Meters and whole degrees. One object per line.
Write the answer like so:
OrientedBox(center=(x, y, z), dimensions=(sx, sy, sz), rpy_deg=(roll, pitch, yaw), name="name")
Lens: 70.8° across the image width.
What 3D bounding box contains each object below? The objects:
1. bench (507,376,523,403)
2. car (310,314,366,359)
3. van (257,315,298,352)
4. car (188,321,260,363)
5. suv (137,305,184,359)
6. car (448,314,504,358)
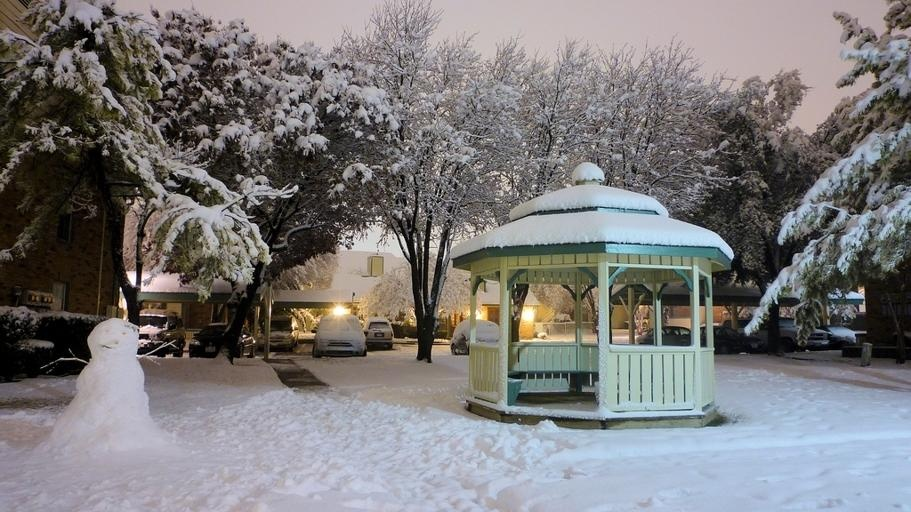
OrientedBox(center=(1.708, 3.935, 18.651), dimensions=(0.692, 0.747, 0.706), rpy_deg=(1, -19, 3), name="bench")
OrientedBox(center=(-6.469, 4.503, 35.928), dimensions=(2.725, 2.514, 2.539), rpy_deg=(5, -11, -13), name="car")
OrientedBox(center=(-11.495, 5.153, 42.185), dimensions=(2.193, 1.976, 3.896), rpy_deg=(0, -15, -6), name="van")
OrientedBox(center=(-13.113, 4.644, 36.121), dimensions=(2.447, 1.822, 5.410), rpy_deg=(1, -13, -7), name="car")
OrientedBox(center=(-15.569, 4.139, 33.890), dimensions=(2.583, 2.294, 4.561), rpy_deg=(-1, -14, -2), name="suv")
OrientedBox(center=(1.091, 4.410, 36.118), dimensions=(2.584, 2.438, 9.078), rpy_deg=(2, -11, 0), name="car")
